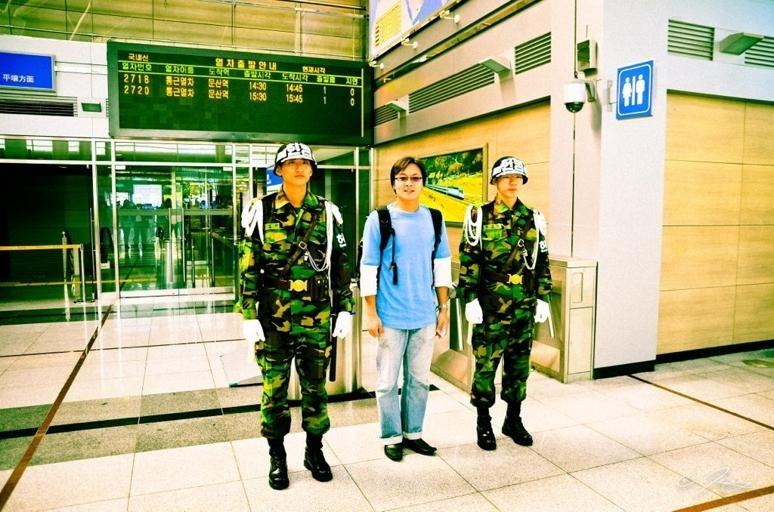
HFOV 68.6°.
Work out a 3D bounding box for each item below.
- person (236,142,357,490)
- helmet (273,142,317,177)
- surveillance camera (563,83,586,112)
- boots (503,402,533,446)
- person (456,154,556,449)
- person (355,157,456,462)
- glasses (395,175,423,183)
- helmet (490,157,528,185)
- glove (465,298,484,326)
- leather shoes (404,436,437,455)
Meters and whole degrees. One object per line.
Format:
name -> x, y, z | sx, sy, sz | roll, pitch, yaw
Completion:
person -> -0.727, 0.460, 4.535 | 0.872, 2.669, 0.338 | -1, 7, -6
helmet -> -0.728, -0.772, 4.471 | 0.313, 0.243, 0.237 | -1, 7, -7
surveillance camera -> 2.036, -1.727, 6.140 | 0.220, 0.329, 0.190 | -6, 9, -42
boots -> 1.164, 1.484, 5.059 | 0.164, 0.327, 0.373 | -1, 8, -23
person -> 1.022, 0.408, 4.934 | 0.794, 2.507, 0.385 | 0, 7, 2
person -> 0.154, 0.447, 4.804 | 0.764, 2.525, 0.350 | -1, 7, -4
glasses -> 0.179, -0.631, 4.656 | 0.207, 0.043, 0.061 | 1, 7, 9
helmet -> 1.046, -0.736, 4.890 | 0.283, 0.230, 0.207 | 2, 7, 17
glove -> 0.745, 0.483, 4.871 | 0.146, 0.230, 0.111 | 1, 7, 9
leather shoes -> 0.270, 1.641, 4.950 | 0.321, 0.113, 0.115 | 4, -1, 33
